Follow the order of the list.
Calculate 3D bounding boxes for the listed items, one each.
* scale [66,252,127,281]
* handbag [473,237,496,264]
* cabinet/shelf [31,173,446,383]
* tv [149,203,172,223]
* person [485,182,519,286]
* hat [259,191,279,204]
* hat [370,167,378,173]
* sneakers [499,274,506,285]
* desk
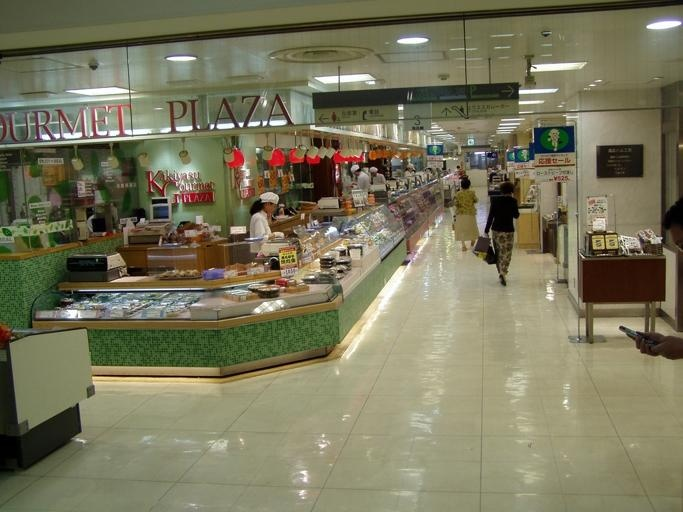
[{"bbox_3d":[-3.045,0.051,6.530,0.563,0.255,0.390,1,5,5],"label":"scale"},{"bbox_3d":[2.732,-0.098,9.989,0.501,0.521,0.322,14,26,29],"label":"handbag"},{"bbox_3d":[-0.500,0.247,8.063,2.383,1.370,5.888,2,11,25],"label":"cabinet/shelf"},{"bbox_3d":[-3.388,-0.808,9.755,0.455,0.353,0.229,1,2,-4],"label":"tv"},{"bbox_3d":[3.056,-0.456,9.999,0.585,1.867,1.145,0,11,15],"label":"person"},{"bbox_3d":[-1.221,-0.973,8.909,0.293,0.205,0.392,6,4,34],"label":"hat"},{"bbox_3d":[0.984,-2.788,16.893,0.226,0.111,0.224,3,5,35],"label":"hat"},{"bbox_3d":[2.987,0.432,9.681,0.095,0.201,0.169,-1,11,12],"label":"sneakers"},{"bbox_3d":[3.535,0.499,6.751,1.073,0.954,0.926,3,-2,15],"label":"desk"}]
